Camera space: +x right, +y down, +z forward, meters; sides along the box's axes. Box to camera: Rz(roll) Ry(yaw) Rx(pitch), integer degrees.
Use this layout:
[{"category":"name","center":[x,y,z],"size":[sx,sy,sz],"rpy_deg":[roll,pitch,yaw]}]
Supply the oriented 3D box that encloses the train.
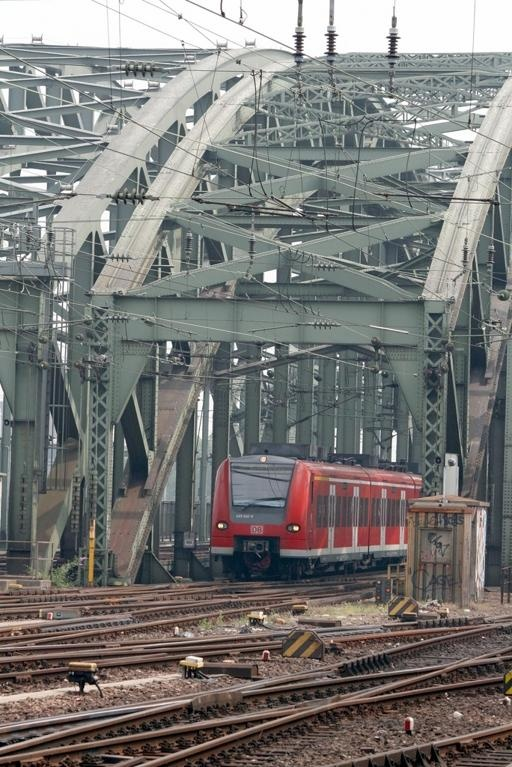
[{"category":"train","center":[1.065,3.516,42.393],"size":[2.224,3.250,11.679],"rpy_deg":[-2,-7,17]}]
